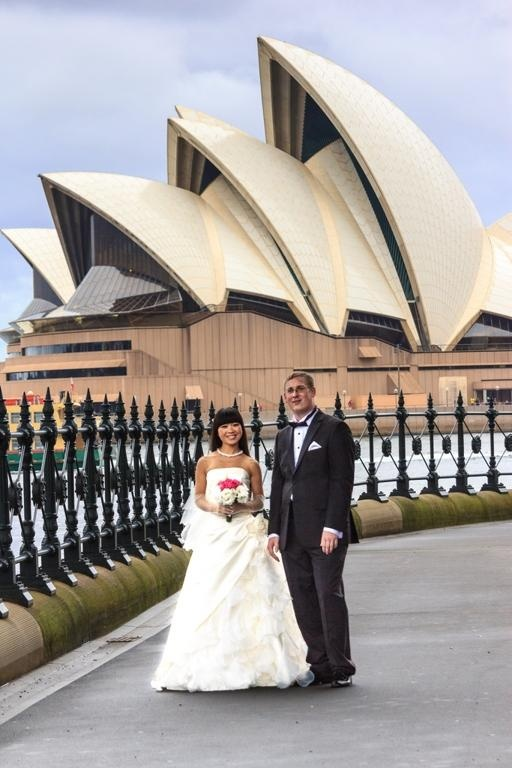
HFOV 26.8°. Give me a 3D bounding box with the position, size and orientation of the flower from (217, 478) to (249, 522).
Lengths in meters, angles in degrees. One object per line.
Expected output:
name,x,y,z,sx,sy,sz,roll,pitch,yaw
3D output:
flower,-0.114,0.583,5.304,0.178,0.188,0.181,1,-2,-31

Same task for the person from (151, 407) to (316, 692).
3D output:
person,-0.102,0.809,5.325,0.844,1.423,0.788,-9,-21,19

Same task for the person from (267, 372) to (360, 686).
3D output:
person,0.254,0.648,4.906,0.257,1.399,0.495,-1,-3,-42
